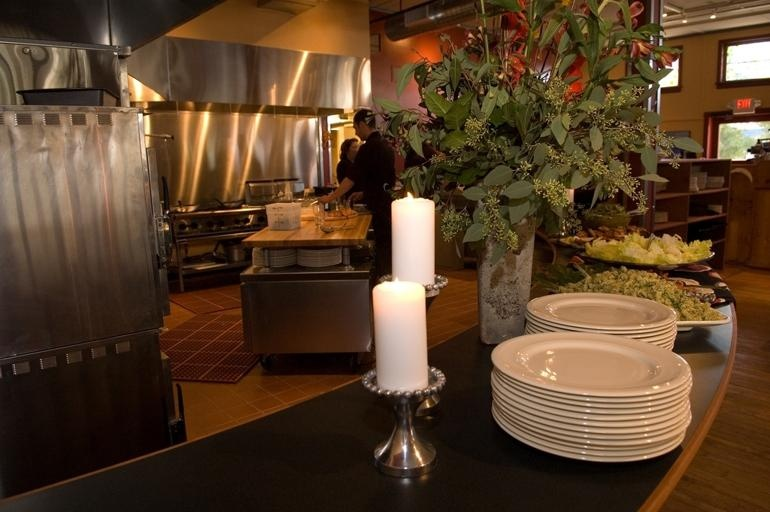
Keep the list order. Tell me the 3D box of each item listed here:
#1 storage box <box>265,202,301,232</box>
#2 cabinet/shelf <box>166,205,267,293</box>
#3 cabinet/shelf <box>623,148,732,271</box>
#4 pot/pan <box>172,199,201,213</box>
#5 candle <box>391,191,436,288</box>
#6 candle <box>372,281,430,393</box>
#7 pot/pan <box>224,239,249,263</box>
[{"bbox_3d":[-0.812,-0.312,4.133,0.240,0.216,0.235,1,7,9],"label":"storage box"},{"bbox_3d":[-2.148,-0.112,6.614,0.576,0.797,1.251,-10,1,42],"label":"cabinet/shelf"},{"bbox_3d":[2.555,-0.412,4.536,0.436,1.274,1.497,4,8,43],"label":"cabinet/shelf"},{"bbox_3d":[-2.502,-0.610,6.533,0.261,0.070,0.269,3,1,33],"label":"pot/pan"},{"bbox_3d":[0.080,-0.041,1.510,0.112,0.240,0.064,-1,10,-5],"label":"candle"},{"bbox_3d":[0.040,0.194,1.341,0.141,0.261,0.160,0,10,4],"label":"candle"},{"bbox_3d":[-1.846,-0.067,6.386,0.260,0.261,0.256,2,8,9],"label":"pot/pan"}]
